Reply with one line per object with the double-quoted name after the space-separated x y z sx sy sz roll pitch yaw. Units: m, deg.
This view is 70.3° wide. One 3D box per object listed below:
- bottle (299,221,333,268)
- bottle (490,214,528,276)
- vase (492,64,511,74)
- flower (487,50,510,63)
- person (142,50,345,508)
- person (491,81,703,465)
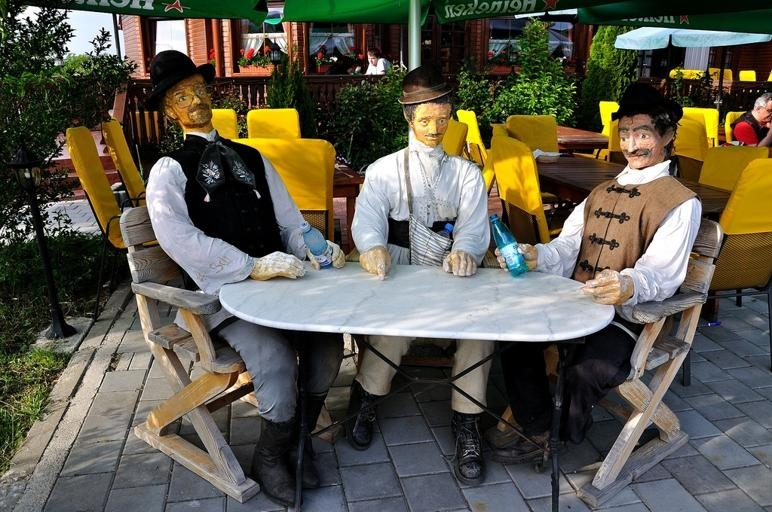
-0.397 -0.068 3.196 0.154 0.273 0.139 -7 21 -9 "bottle"
0.713 -0.068 3.162 0.207 0.339 0.198 -3 20 1 "bottle"
3.150 -5.055 14.829 0.451 0.264 1.483 0 19 9 "vase"
3.169 -5.592 15.357 0.588 0.363 0.293 -4 20 -1 "flower"
-0.794 0.050 3.223 0.873 2.439 1.364 -17 24 -30 "person"
1.221 0.135 3.171 1.314 2.116 0.774 -21 26 -39 "person"
